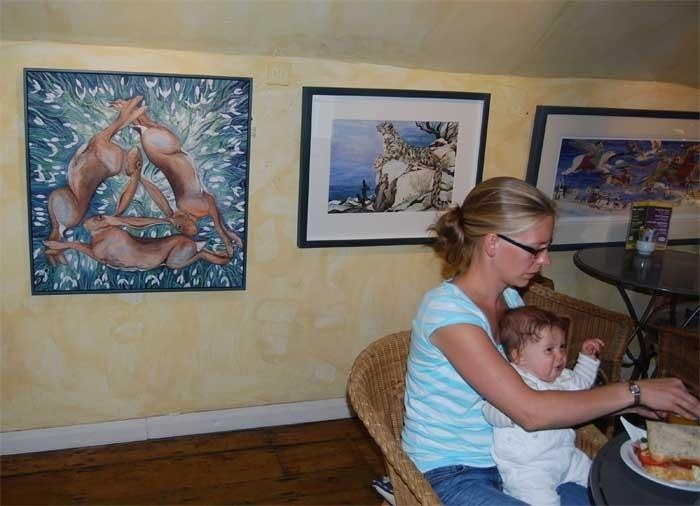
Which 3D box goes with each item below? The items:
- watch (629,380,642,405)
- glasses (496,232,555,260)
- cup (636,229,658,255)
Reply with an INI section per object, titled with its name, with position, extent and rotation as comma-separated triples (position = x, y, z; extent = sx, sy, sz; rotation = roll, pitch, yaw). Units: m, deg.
[watch]
position = 0.963, 0.473, 1.983
extent = 0.039, 0.069, 0.069
rotation = -3, -32, 11
[glasses]
position = 0.639, -0.028, 2.178
extent = 0.111, 0.029, 0.108
rotation = 32, 15, 31
[cup]
position = 1.859, -0.065, 3.613
extent = 0.108, 0.169, 0.179
rotation = 2, 4, 22
